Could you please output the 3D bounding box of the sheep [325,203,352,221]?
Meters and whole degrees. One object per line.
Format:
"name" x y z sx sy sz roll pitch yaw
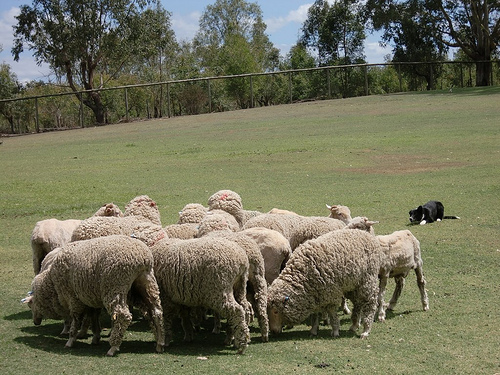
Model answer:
"sheep" 1.776 0.543 13.361 0.341 0.343 0.346 20 14 37

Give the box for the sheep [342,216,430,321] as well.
"sheep" 2.476 1.505 12.567 2.337 1.827 0.684 1 0 -43

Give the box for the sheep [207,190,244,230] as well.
"sheep" -0.386 0.415 13.066 0.705 0.733 0.549 -2 -12 14

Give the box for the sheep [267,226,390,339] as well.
"sheep" 1.354 1.728 12.079 2.644 1.910 1.150 -12 10 -32

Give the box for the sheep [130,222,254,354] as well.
"sheep" -1.139 1.612 11.647 2.512 2.048 1.149 2 3 25

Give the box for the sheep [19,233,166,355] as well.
"sheep" -2.694 1.849 11.411 2.514 1.783 1.181 -7 -7 25

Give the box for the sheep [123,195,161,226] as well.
"sheep" -2.019 0.443 12.814 0.630 0.498 0.255 10 -30 0

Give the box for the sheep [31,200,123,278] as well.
"sheep" -3.231 1.037 12.827 1.961 1.143 0.660 -8 -30 25

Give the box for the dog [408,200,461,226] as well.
"dog" 4.358 0.585 16.135 1.466 0.561 0.433 -11 9 -28
